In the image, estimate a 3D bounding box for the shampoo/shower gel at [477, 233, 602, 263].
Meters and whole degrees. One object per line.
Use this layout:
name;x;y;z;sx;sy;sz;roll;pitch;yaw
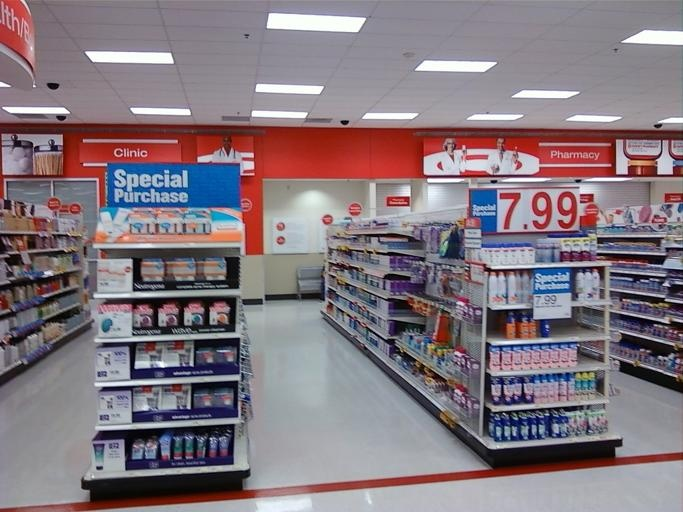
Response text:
shampoo/shower gel;1.920;-0.070;5.076;1.147;0.272;0.369;-1;9;-7

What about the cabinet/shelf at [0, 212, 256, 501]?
cabinet/shelf;-1.950;0.896;6.082;2.249;3.127;2.579;-1;3;-9
